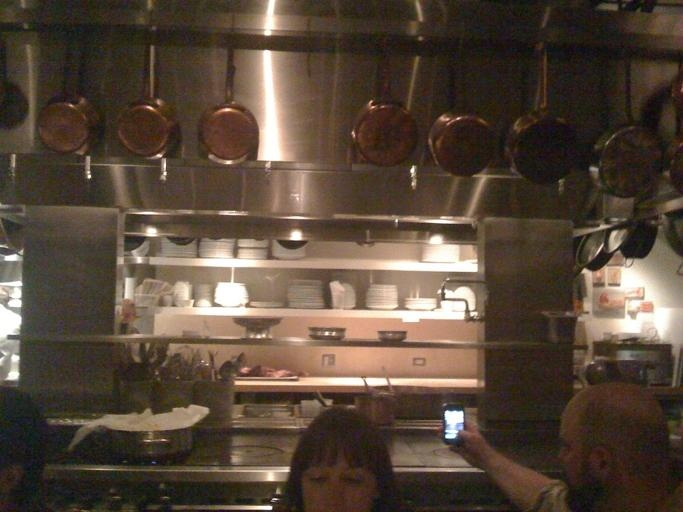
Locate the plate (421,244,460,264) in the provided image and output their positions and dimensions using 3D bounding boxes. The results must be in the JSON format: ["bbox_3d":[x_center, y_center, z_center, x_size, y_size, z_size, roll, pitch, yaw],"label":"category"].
[{"bbox_3d":[0.666,-0.015,5.730,0.173,0.090,0.167,-1,-2,31],"label":"plate"}]

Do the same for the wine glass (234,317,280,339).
[{"bbox_3d":[-0.403,0.338,4.034,0.220,0.103,0.120,2,-8,-7],"label":"wine glass"}]

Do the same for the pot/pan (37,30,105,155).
[{"bbox_3d":[-1.022,-0.639,3.235,0.293,0.501,0.085,-1,-6,14],"label":"pot/pan"}]

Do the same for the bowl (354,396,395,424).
[{"bbox_3d":[0.134,0.672,3.730,0.245,0.109,0.157,2,-3,-2],"label":"bowl"}]

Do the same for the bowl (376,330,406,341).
[{"bbox_3d":[0.222,0.363,3.840,0.124,0.043,0.097,0,-8,11],"label":"bowl"}]

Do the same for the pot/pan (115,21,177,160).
[{"bbox_3d":[-0.724,-0.627,3.250,0.194,0.547,0.338,3,-9,-6],"label":"pot/pan"}]

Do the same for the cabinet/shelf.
[{"bbox_3d":[-0.084,0.033,5.153,2.168,0.545,2.198,2,-7,-7],"label":"cabinet/shelf"}]

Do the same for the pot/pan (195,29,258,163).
[{"bbox_3d":[-0.421,-0.579,3.162,0.220,0.470,0.177,3,-9,-8],"label":"pot/pan"}]

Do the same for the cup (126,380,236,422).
[{"bbox_3d":[-0.709,0.623,3.713,0.358,0.105,0.224,1,-6,-5],"label":"cup"}]
